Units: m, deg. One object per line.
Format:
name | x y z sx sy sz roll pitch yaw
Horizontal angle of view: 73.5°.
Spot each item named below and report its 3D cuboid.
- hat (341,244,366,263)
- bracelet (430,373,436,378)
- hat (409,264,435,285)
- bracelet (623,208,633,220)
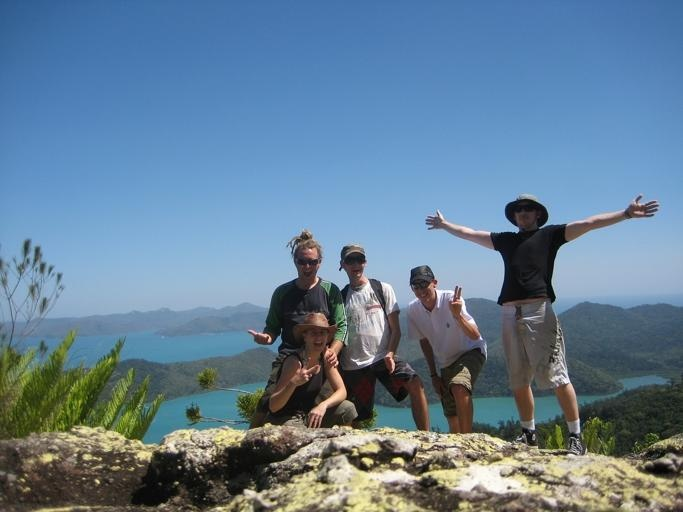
hat | 0.201 -0.043 8.221 0.291 0.395 0.377 -2 -9 1
bracelet | 1.611 2.093 7.978 0.074 0.072 0.066 -3 14 37
hat | 1.249 0.323 7.020 0.336 0.256 0.492 -11 -13 21
bracelet | 4.189 -0.638 6.680 0.091 0.146 0.174 1 5 30
